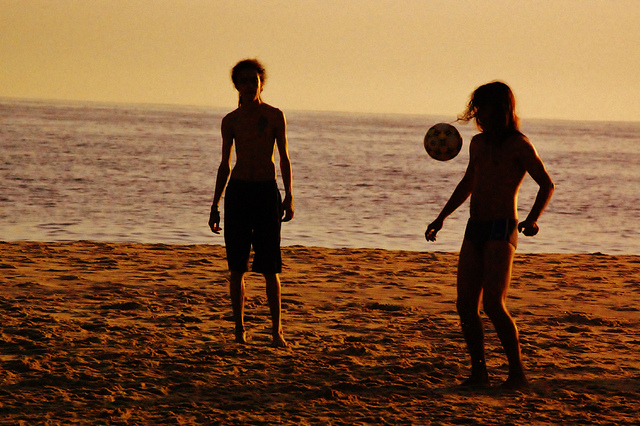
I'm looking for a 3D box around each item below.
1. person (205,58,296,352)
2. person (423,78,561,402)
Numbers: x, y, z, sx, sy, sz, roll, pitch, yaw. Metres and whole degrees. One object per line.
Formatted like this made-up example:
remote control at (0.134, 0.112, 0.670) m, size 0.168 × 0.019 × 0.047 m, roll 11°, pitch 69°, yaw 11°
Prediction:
person at (-0.665, -0.136, 10.769) m, size 1.035 × 2.878 × 0.775 m, roll -1°, pitch -2°, yaw 39°
person at (1.688, 0.261, 9.778) m, size 1.031 × 2.885 × 0.476 m, roll 4°, pitch 1°, yaw 10°
